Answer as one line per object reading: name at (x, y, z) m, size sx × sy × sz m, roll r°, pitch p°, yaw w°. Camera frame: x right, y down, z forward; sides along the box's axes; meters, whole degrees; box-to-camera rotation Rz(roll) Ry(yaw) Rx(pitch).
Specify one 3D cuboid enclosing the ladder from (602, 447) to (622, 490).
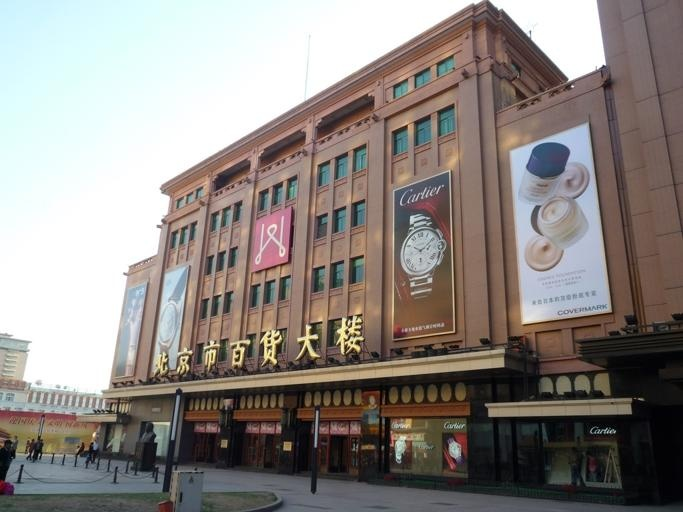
ladder at (12.434, 9.779, 20.753) m, size 0.754 × 1.655 × 0.174 m, roll -12°, pitch -25°, yaw 29°
